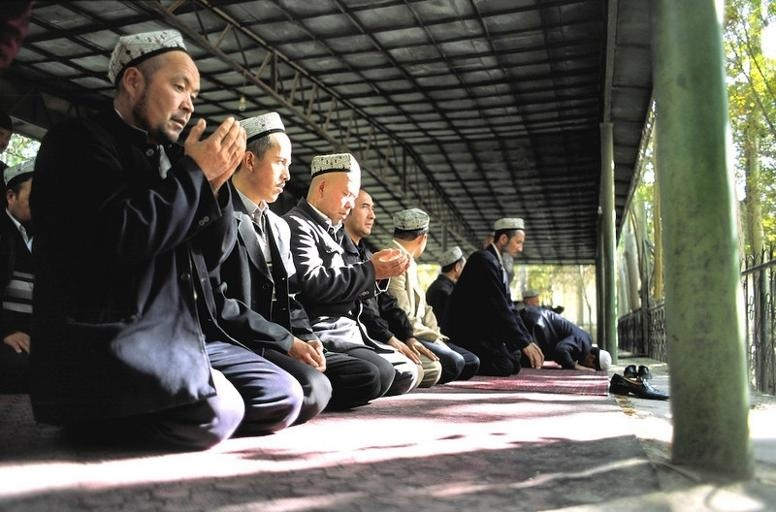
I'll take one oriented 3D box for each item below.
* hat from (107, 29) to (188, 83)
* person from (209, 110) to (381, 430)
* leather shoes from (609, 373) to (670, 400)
[{"bbox_3d":[-1.280,-1.054,2.855,0.240,0.128,0.273,-5,0,-11],"label":"hat"},{"bbox_3d":[-0.694,0.007,3.603,1.158,1.797,1.082,7,2,10],"label":"person"},{"bbox_3d":[2.117,1.131,4.765,0.473,0.163,0.186,-1,-4,34],"label":"leather shoes"}]
